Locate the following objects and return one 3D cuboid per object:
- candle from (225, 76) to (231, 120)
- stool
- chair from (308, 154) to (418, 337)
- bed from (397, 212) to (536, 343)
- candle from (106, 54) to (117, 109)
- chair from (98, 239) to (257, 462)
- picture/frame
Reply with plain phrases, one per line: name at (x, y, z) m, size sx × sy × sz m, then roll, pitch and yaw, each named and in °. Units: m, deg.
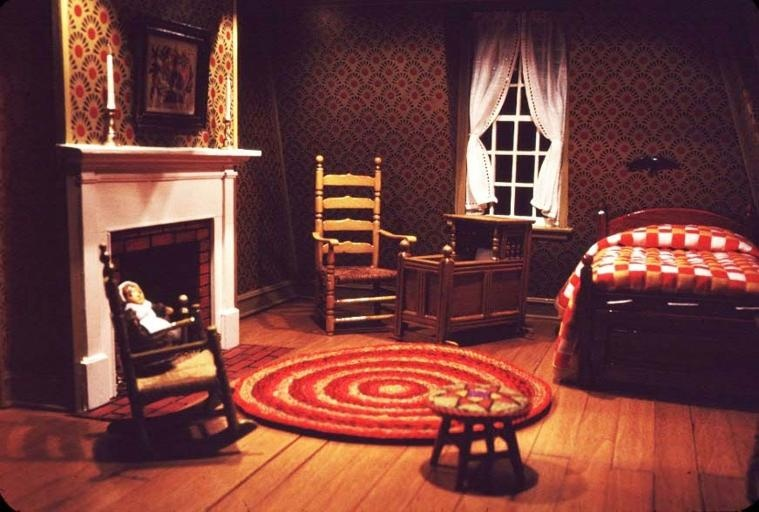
candle at (-1.286, -1.352, 4.919) m, size 0.047 × 0.364 × 0.101 m, roll 1°, pitch 8°, yaw 8°
stool at (0.559, 0.970, 3.216) m, size 0.537 × 0.479 × 0.539 m, roll 0°, pitch 5°, yaw -13°
chair at (-0.200, -0.191, 5.843) m, size 0.924 × 1.660 × 1.448 m, roll -1°, pitch 7°, yaw -6°
bed at (0.770, 0.177, 5.327) m, size 1.165 × 1.053 × 0.813 m, roll -2°, pitch 7°, yaw -32°
candle at (-1.788, -1.164, 3.845) m, size 0.056 × 0.404 × 0.298 m, roll -3°, pitch 8°, yaw -24°
chair at (-1.278, 0.541, 3.618) m, size 1.028 × 1.256 × 0.986 m, roll -1°, pitch 8°, yaw 14°
picture/frame at (-1.561, -1.341, 4.350) m, size 0.681 × 0.691 × 0.037 m, roll 14°, pitch 15°, yaw 22°
